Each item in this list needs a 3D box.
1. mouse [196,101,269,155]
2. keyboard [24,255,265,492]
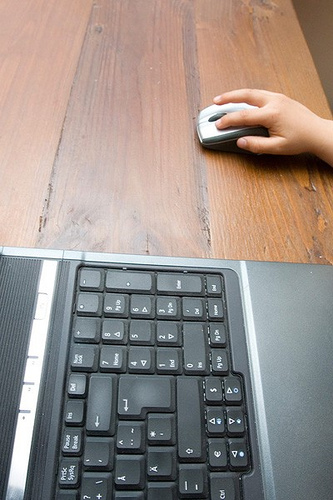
[{"bbox_3d":[0.080,-0.195,0.569,0.074,0.036,0.113,-25,28,15],"label":"mouse"},{"bbox_3d":[-0.015,0.106,0.377,0.208,0.083,0.204,-1,43,-5],"label":"keyboard"}]
